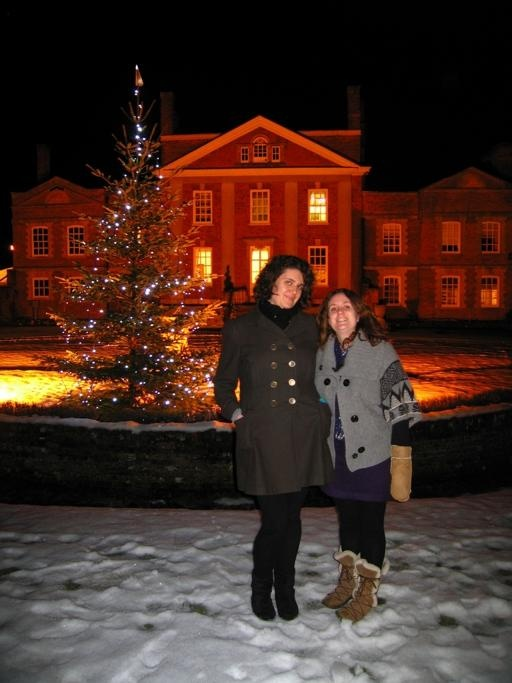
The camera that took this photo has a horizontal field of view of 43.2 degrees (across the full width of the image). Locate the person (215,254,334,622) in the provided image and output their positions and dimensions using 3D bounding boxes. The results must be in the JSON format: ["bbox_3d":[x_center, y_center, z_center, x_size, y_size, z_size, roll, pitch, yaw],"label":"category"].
[{"bbox_3d":[0.147,0.499,3.561,0.618,1.959,0.597,-5,8,-34],"label":"person"}]

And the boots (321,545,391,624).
[{"bbox_3d":[0.535,1.309,3.494,0.382,0.299,0.294,11,2,-30],"label":"boots"}]

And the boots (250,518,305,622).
[{"bbox_3d":[0.109,1.195,3.414,0.246,0.488,0.261,1,7,13],"label":"boots"}]

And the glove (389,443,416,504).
[{"bbox_3d":[0.759,0.680,3.376,0.104,0.305,0.214,1,6,11],"label":"glove"}]
